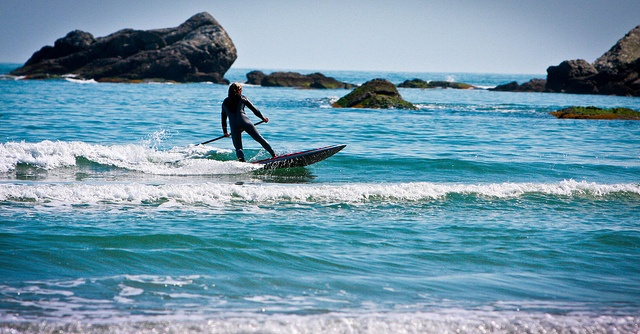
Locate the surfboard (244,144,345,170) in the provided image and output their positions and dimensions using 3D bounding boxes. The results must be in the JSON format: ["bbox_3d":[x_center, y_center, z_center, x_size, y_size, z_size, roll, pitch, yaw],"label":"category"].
[{"bbox_3d":[-1.535,-0.514,42.901,5.863,0.948,0.600,-7,47,-21],"label":"surfboard"}]
